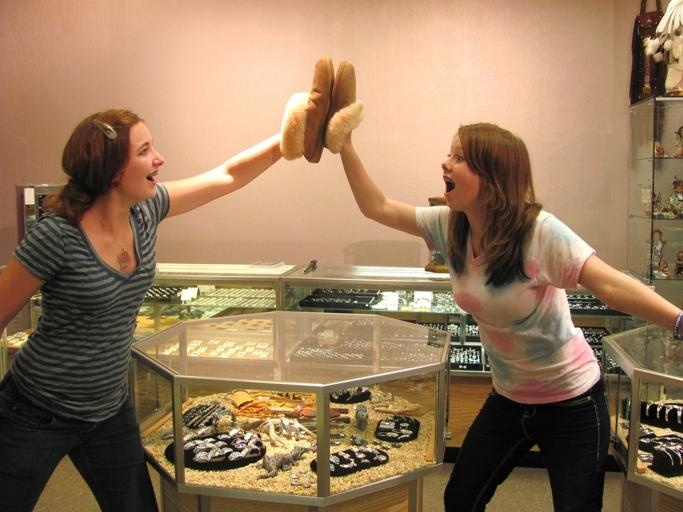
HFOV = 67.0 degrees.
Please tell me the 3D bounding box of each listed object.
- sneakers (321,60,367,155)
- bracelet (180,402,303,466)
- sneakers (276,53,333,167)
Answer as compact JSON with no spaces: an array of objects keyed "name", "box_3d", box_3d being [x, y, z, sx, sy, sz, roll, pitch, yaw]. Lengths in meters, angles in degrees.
[{"name":"sneakers","box_3d":[0.030,-0.622,2.261,0.144,0.411,0.166,3,11,-30]},{"name":"bracelet","box_3d":[-0.407,0.710,2.054,0.412,0.142,0.262,3,16,-3]},{"name":"sneakers","box_3d":[-0.132,-0.621,2.244,0.165,0.442,0.235,14,16,12]}]
